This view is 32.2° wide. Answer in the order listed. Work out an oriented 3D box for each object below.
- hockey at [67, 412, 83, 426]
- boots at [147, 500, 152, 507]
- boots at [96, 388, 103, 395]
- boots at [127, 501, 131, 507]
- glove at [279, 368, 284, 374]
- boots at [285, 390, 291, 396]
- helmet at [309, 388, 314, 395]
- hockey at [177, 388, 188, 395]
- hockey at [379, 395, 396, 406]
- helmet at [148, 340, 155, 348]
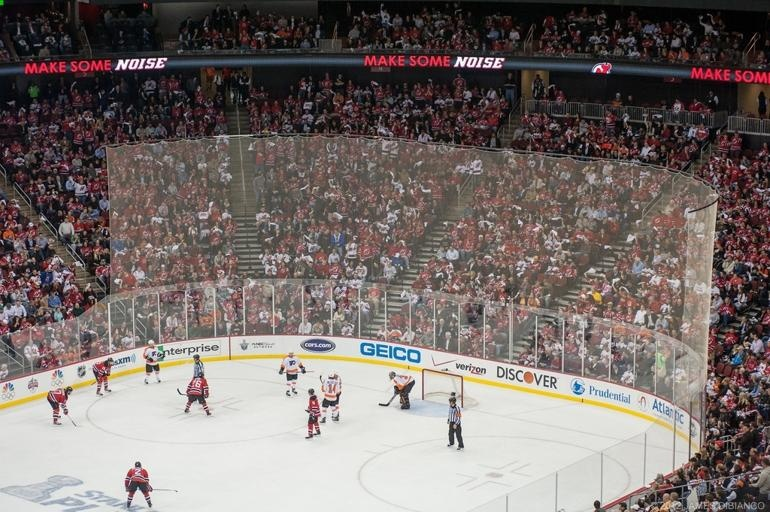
[{"bbox_3d":[-11.209,5.904,47.972,0.406,0.416,0.127,1,-1,12],"label":"hockey"},{"bbox_3d":[-7.553,7.926,42.931,0.143,0.278,0.200,-2,21,-11],"label":"boots"},{"bbox_3d":[-10.646,5.074,50.057,0.279,0.256,0.164,-7,22,-22],"label":"boots"},{"bbox_3d":[-8.212,7.950,42.907,0.125,0.234,0.137,-2,21,-11],"label":"boots"},{"bbox_3d":[-3.911,4.382,50.442,0.206,0.138,0.286,1,2,3],"label":"glove"},{"bbox_3d":[-3.630,5.102,49.873,0.098,0.207,0.277,-9,23,-27],"label":"boots"},{"bbox_3d":[-2.531,4.661,45.810,0.184,0.183,0.239,1,-12,-1],"label":"helmet"},{"bbox_3d":[-7.531,5.085,49.464,0.328,0.094,0.324,-2,-14,38],"label":"hockey"},{"bbox_3d":[0.057,5.261,49.182,0.562,0.379,0.742,6,20,9],"label":"hockey"},{"bbox_3d":[-8.937,3.388,51.189,0.210,0.267,0.254,-2,0,-5],"label":"helmet"}]
